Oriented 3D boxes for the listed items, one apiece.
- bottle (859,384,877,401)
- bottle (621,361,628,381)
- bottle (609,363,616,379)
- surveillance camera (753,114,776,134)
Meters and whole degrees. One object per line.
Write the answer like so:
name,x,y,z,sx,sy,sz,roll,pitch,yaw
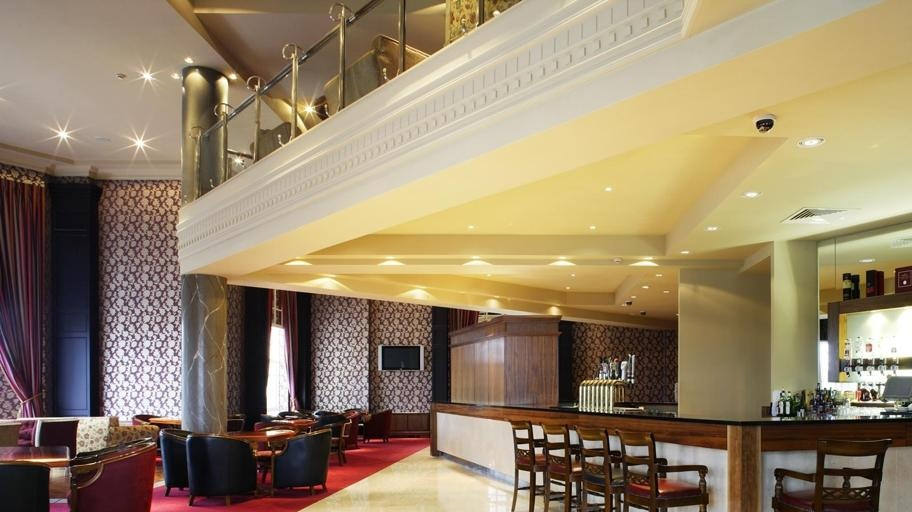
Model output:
bottle,6.935,2.295,10.059,0.216,0.251,0.272,3,-14,-12
bottle,3.193,2.152,11.292,0.162,0.350,0.718,-7,-16,14
bottle,3.012,2.178,11.454,0.119,0.293,0.696,-8,-16,15
surveillance camera,3.403,-1.447,6.583,0.179,0.118,0.172,5,-7,-35
